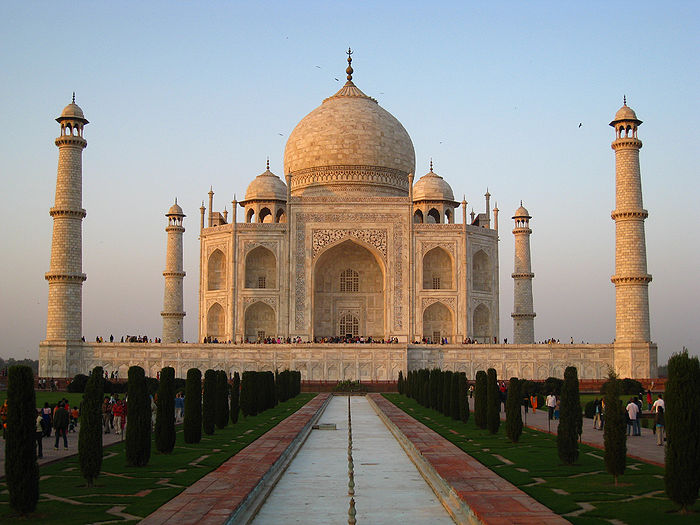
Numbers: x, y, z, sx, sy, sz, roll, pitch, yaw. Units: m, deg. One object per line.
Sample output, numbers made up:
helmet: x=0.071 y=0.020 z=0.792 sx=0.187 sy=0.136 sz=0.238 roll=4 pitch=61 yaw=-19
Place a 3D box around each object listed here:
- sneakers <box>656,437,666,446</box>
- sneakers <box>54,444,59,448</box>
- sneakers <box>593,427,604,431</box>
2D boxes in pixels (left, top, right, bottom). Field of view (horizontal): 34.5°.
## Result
sneakers: x=6.425 y=3.650 z=23.129 sx=0.158 sy=0.142 sz=0.551 roll=-4 pitch=-7 yaw=13
sneakers: x=-5.905 y=3.660 z=22.639 sx=0.067 sy=0.122 sz=0.085 roll=-1 pitch=-12 yaw=-3
sneakers: x=5.714 y=3.773 z=25.746 sx=0.195 sy=0.081 sz=0.680 roll=-3 pitch=-7 yaw=8
